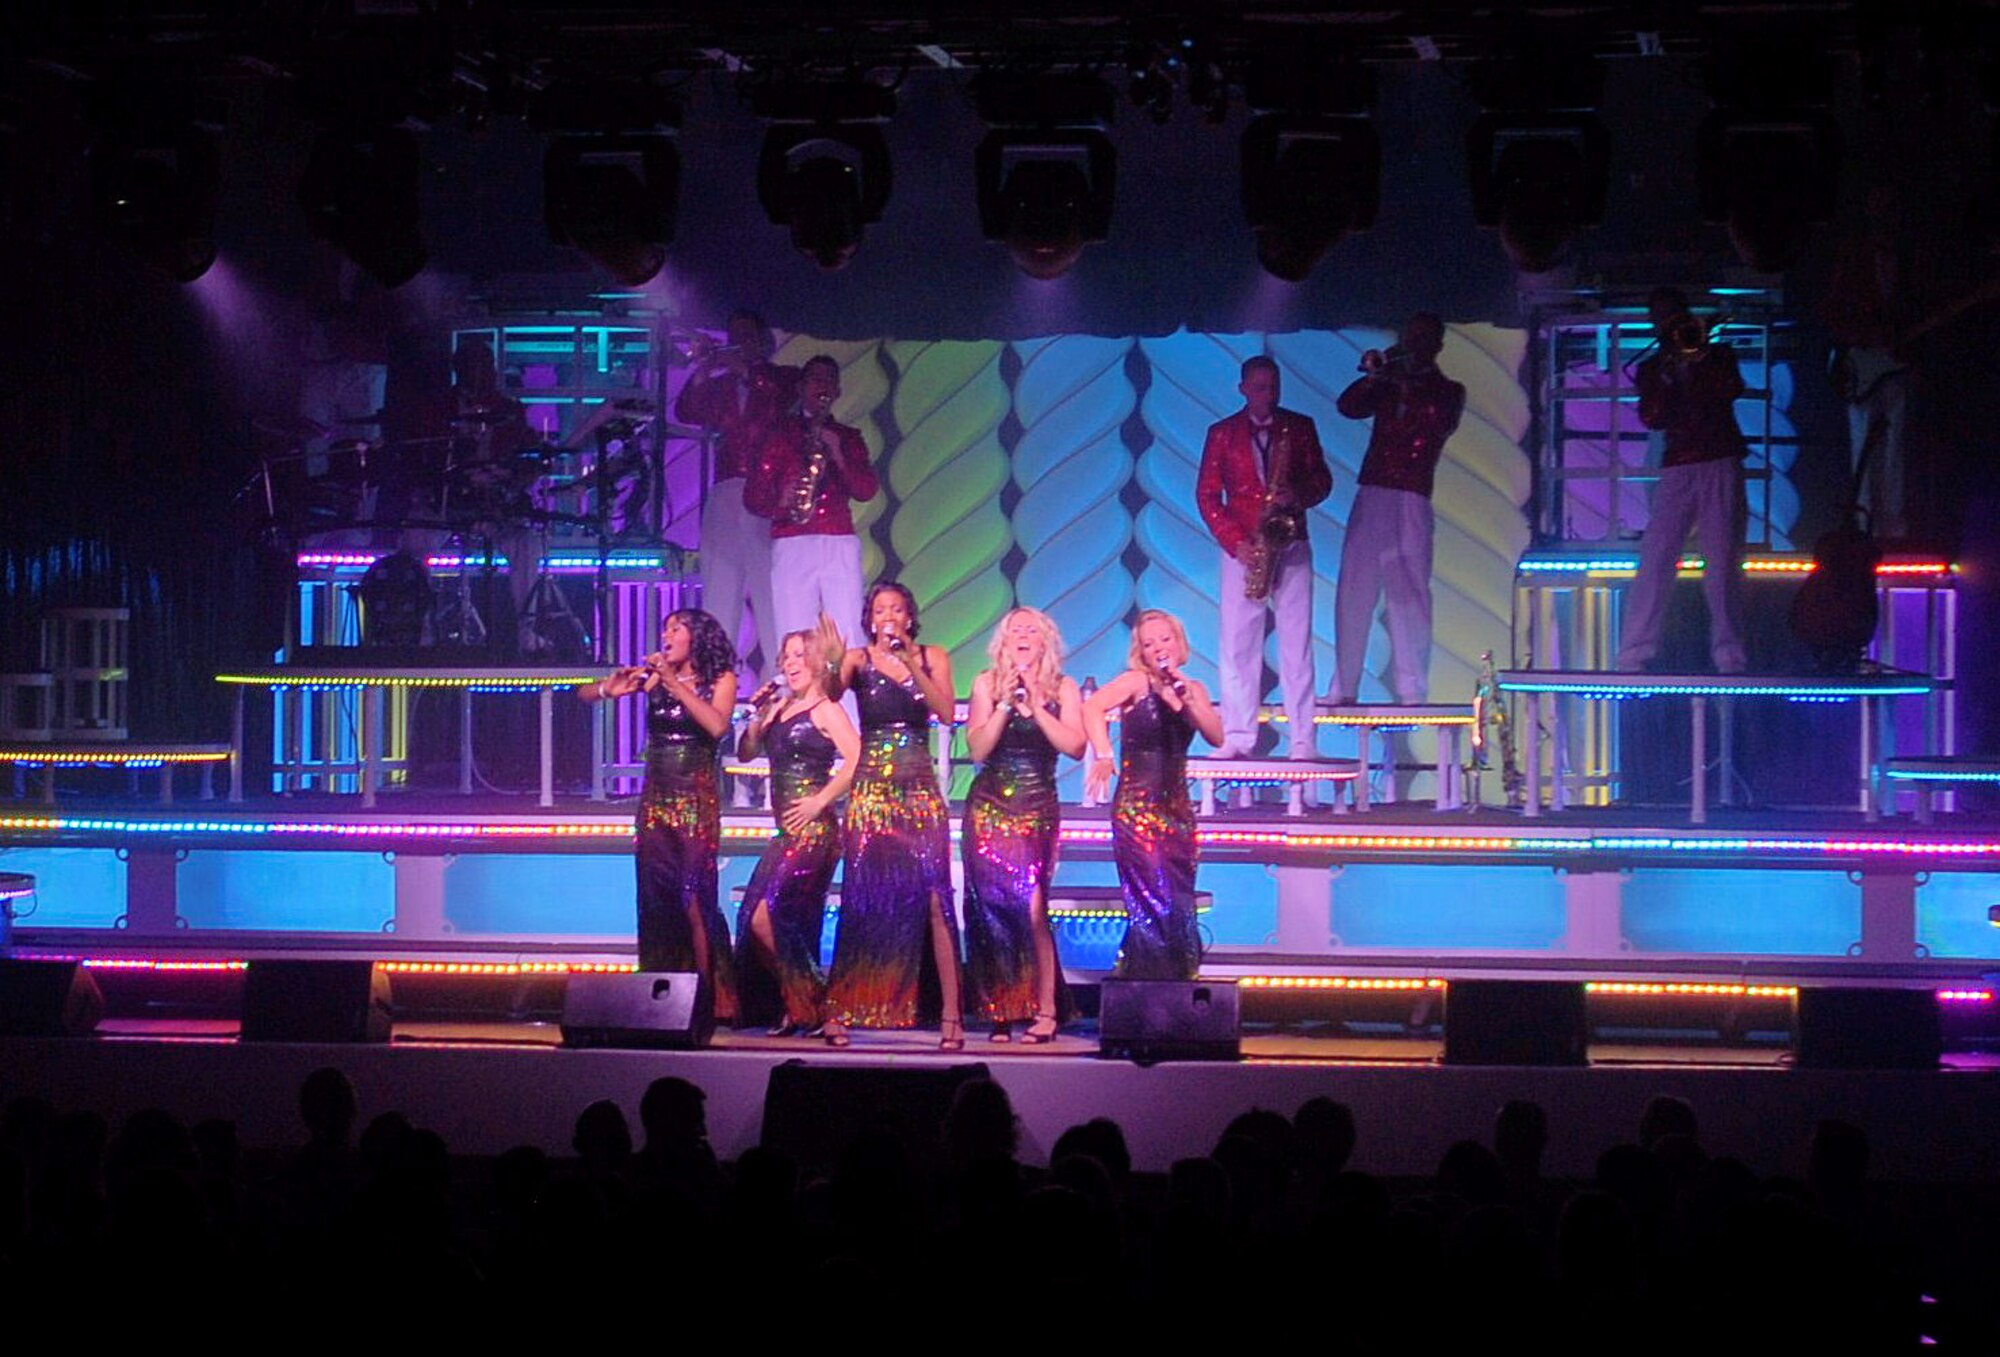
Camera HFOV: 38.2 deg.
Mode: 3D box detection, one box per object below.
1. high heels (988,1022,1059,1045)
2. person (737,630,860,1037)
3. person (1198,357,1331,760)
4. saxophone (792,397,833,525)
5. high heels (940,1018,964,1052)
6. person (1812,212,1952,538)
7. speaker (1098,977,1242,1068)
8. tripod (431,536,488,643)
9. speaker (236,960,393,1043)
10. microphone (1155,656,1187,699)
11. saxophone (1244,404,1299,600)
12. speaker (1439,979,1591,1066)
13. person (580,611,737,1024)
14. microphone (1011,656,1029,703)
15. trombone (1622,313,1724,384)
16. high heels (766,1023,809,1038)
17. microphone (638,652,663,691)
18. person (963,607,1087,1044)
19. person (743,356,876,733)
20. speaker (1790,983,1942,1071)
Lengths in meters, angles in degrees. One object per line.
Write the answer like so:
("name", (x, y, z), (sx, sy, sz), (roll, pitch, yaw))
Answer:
("high heels", (0.130, 1.832, 14.772), (0.272, 0.055, 0.126), (12, -16, -42))
("person", (-1.042, 0.817, 15.060), (0.691, 2.045, 0.559), (-1, 12, -6))
("person", (1.542, -0.637, 16.763), (0.702, 2.392, 0.401), (-2, 16, 17))
("saxophone", (-1.089, -1.186, 16.610), (0.184, 0.599, 0.140), (0, 0, 16))
("high heels", (-0.244, 1.826, 14.655), (0.105, 0.140, 0.164), (2, 4, 23))
("person", (5.382, -1.904, 17.652), (0.433, 2.100, 0.706), (1, 9, 16))
("speaker", (0.840, 1.724, 14.396), (0.874, 0.353, 0.416), (1, 3, 1))
("tripod", (-3.362, -0.544, 17.887), (0.298, 0.662, 0.657), (0, 0, -11))
("speaker", (-3.532, 1.675, 14.773), (0.743, 0.376, 0.464), (0, -5, 6))
("microphone", (0.873, 0.012, 14.851), (0.135, 0.191, 0.047), (0, 0, -11))
("saxophone", (1.565, -0.953, 16.597), (0.207, 0.996, 0.224), (0, 0, 40))
("speaker", (2.582, 1.745, 14.478), (0.898, 0.448, 0.429), (0, -9, 4))
("person", (-1.755, 0.728, 15.105), (0.769, 2.074, 0.604), (-1, 10, -9))
("microphone", (0.107, 0.037, 14.823), (0.077, 0.201, 0.033), (0, 0, 19))
("trombone", (3.895, -1.895, 16.577), (0.395, 0.453, 0.141), (12, 43, -8))
("high heels", (-1.090, 1.833, 14.938), (0.255, 0.088, 0.074), (1, -2, 21))
("microphone", (-1.838, -0.029, 15.143), (0.066, 0.153, 0.121), (8, 18, -18))
("person", (0.100, 0.776, 14.841), (0.698, 2.134, 0.491), (0, 13, 8))
("person", (-1.105, -0.824, 16.708), (0.593, 2.250, 0.497), (2, 11, 30))
("speaker", (4.348, 1.756, 14.448), (0.843, 0.369, 0.504), (-1, -2, 9))
